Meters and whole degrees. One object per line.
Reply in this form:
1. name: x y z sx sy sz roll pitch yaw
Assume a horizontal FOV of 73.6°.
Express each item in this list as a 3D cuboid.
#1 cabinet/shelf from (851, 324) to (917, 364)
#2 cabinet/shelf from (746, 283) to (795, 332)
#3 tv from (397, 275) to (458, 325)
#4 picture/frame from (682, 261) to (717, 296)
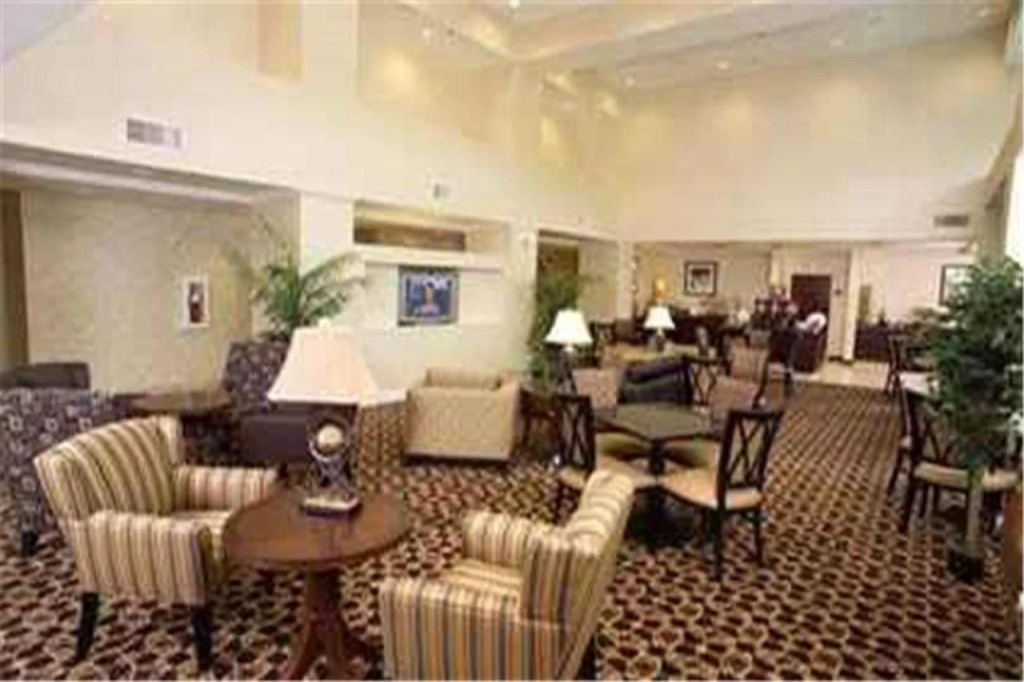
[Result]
1. cabinet/shelf: 8.378 0.028 15.451 1.518 1.050 0.846 0 2 31
2. cabinet/shelf: 5.271 -0.693 14.123 0.810 0.878 0.862 8 5 35
3. tv: -1.295 -0.618 10.776 1.082 0.743 0.126 2 2 30
4. picture/frame: 4.853 -1.600 17.494 0.915 0.955 0.068 4 1 38
